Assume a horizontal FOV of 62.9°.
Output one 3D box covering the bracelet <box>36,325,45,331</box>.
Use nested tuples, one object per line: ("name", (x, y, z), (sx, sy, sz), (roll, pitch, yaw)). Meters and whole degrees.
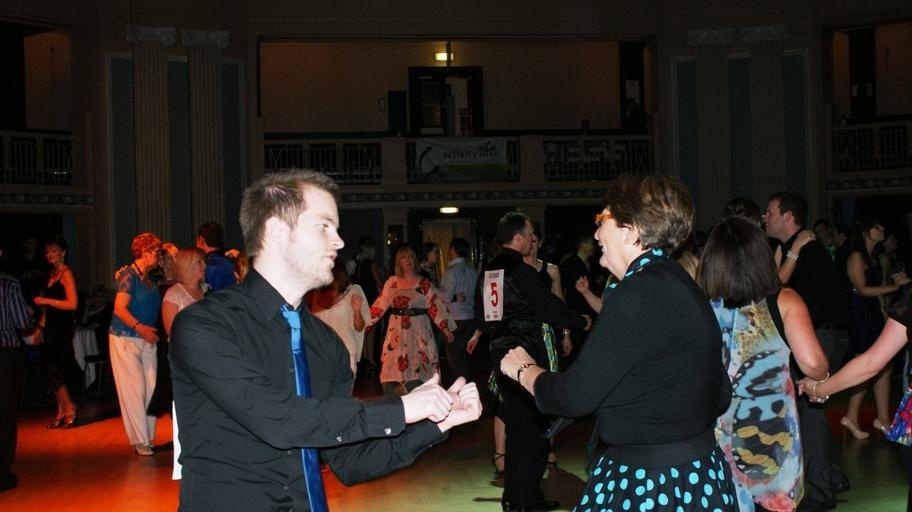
("bracelet", (-6.793, 1.165, 12.194), (0.125, 0.066, 0.173), (5, -30, -44))

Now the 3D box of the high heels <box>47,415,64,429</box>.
("high heels", (-6.556, 2.743, 12.352), (0.371, 0.148, 0.200), (4, -4, -8))

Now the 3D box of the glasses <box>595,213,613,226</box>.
("glasses", (1.368, -0.362, 6.882), (0.117, 0.083, 0.136), (-2, -9, 9))

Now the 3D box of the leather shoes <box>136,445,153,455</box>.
("leather shoes", (-4.562, 2.842, 10.942), (0.240, 0.099, 0.128), (-5, -4, 43))
